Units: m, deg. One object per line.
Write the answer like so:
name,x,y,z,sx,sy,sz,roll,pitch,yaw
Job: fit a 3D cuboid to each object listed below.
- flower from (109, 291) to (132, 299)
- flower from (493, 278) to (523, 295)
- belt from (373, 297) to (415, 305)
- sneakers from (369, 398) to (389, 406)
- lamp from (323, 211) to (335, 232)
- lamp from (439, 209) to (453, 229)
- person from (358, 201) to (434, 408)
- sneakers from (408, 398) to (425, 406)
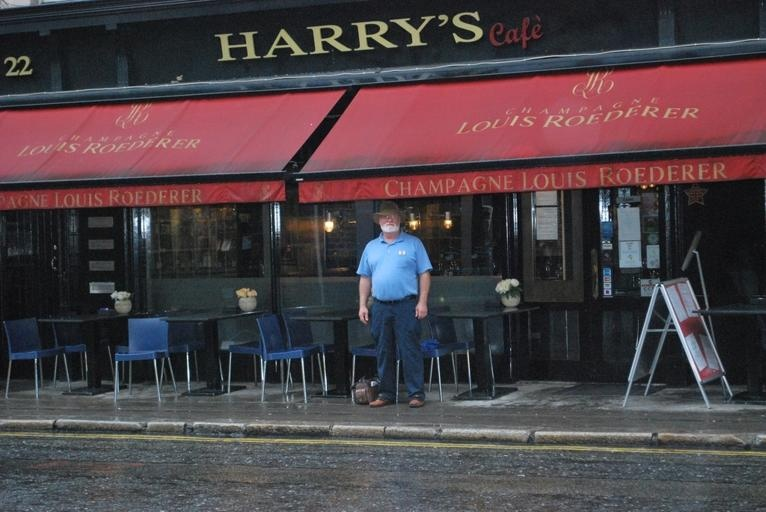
flower,-4.086,0.657,20.534,0.196,0.086,0.172,2,-4,-30
flower,1.780,0.477,19.227,0.298,0.145,0.290,-1,1,-38
belt,0.152,0.655,18.297,0.589,0.104,0.136,-3,-5,11
sneakers,-0.043,2.068,18.291,0.285,0.097,0.108,3,-7,-21
lamp,-0.830,-0.475,20.204,0.188,0.308,0.048,-5,-6,25
lamp,0.977,-0.492,19.777,0.247,0.374,0.229,0,2,4
person,0.172,0.711,18.414,0.700,2.862,0.867,2,-7,-40
sneakers,0.466,2.050,18.135,0.227,0.131,0.291,-2,-5,2
